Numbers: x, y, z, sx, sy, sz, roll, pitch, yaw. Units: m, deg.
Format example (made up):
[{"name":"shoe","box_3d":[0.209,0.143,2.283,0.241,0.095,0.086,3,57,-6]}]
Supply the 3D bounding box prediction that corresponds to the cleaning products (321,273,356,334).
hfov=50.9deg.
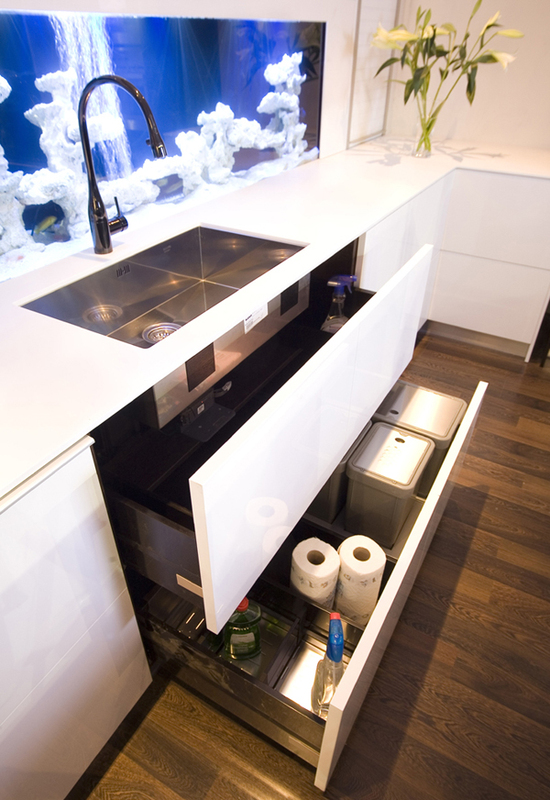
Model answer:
[{"name":"cleaning products","box_3d":[0.172,-0.259,1.528,0.080,0.145,0.065,13,27,23]}]

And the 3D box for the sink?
[{"name":"sink","box_3d":[-0.235,-0.240,1.343,0.424,0.235,0.700,18,42,26]}]

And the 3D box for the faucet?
[{"name":"faucet","box_3d":[-0.324,-0.499,1.254,0.180,0.360,0.108,4,34,5]}]

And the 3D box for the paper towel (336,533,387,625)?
[{"name":"paper towel","box_3d":[0.186,0.401,1.335,0.111,0.194,0.121,20,34,16]}]

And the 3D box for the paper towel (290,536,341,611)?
[{"name":"paper towel","box_3d":[0.089,0.399,1.303,0.109,0.126,0.103,-12,33,-24]}]

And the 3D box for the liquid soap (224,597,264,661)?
[{"name":"liquid soap","box_3d":[-0.064,0.479,1.190,0.077,0.129,0.037,1,-10,-9]}]
